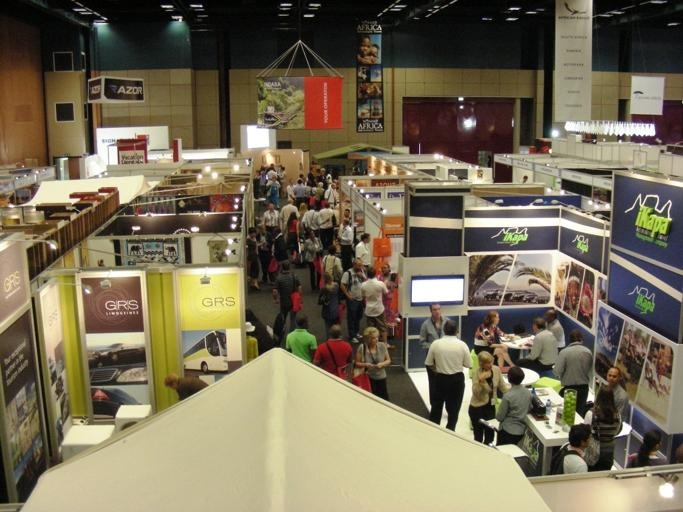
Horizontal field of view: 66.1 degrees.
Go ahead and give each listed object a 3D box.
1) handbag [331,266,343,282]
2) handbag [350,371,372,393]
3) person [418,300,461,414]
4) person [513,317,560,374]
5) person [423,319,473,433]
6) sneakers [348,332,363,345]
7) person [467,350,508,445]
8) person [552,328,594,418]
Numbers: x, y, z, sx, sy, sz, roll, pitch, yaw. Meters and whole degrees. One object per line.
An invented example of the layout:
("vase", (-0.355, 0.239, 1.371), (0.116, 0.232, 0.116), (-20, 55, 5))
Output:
("handbag", (-0.064, 0.281, 8.224), (0.155, 0.180, 0.292), (5, 3, 2))
("handbag", (0.221, 1.328, 5.493), (0.199, 0.168, 0.369), (5, 3, 3))
("person", (1.221, 1.288, 6.608), (0.446, 1.317, 0.393), (-5, 7, -12))
("person", (2.399, 1.182, 6.549), (0.433, 0.861, 0.385), (11, 19, 43))
("person", (1.171, 1.321, 5.850), (0.458, 1.387, 0.409), (4, 21, 12))
("sneakers", (0.213, 1.249, 8.050), (0.090, 0.114, 0.275), (-1, 1, -13))
("person", (1.567, 1.570, 5.381), (0.475, 1.315, 0.337), (5, 25, 26))
("person", (2.579, 1.399, 5.872), (0.407, 1.263, 0.367), (-2, 24, 11))
